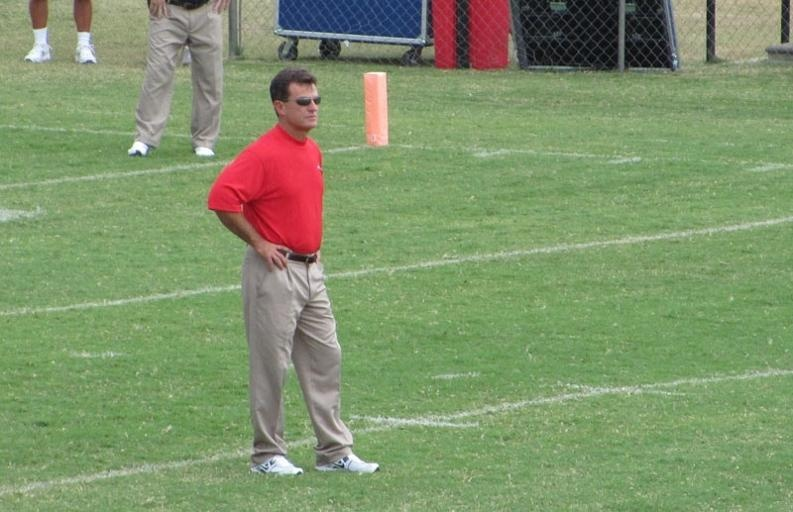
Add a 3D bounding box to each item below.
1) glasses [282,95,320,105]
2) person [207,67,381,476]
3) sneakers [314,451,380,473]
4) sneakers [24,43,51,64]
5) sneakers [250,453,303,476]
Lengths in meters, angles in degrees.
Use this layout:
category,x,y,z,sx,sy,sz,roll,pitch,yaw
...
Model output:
category,x,y,z,sx,sy,sz,roll,pitch,yaw
glasses,-0.761,-1.273,13.567,0.198,0.077,0.053,-4,7,-22
person,-0.929,0.153,13.631,1.074,3.352,0.395,-2,7,-6
sneakers,-0.428,1.762,13.791,0.538,0.190,0.183,-1,3,2
sneakers,-5.129,-2.857,23.423,0.191,0.168,0.440,1,2,11
sneakers,-1.009,1.761,13.746,0.432,0.168,0.159,2,3,5
